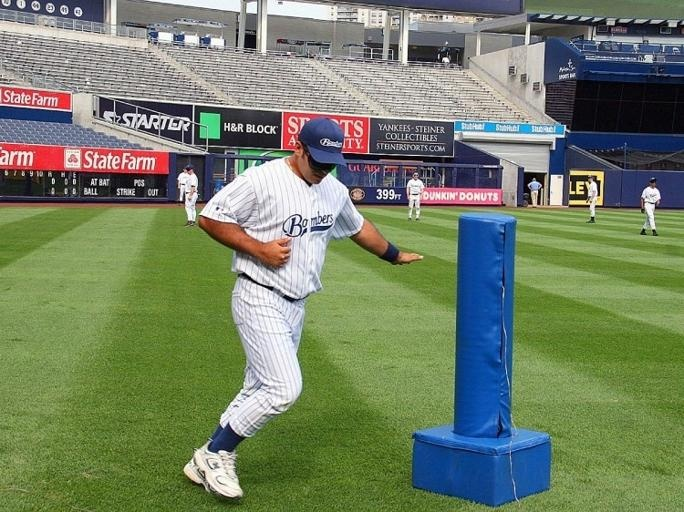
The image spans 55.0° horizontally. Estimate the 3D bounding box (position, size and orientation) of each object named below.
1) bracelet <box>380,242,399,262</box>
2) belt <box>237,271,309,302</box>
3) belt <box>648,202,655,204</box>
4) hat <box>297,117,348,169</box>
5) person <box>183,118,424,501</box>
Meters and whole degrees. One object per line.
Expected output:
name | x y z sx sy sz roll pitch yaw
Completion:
bracelet | 0.338 -0.017 4.514 0.130 0.106 0.119 31 17 2
belt | -0.443 0.197 4.028 0.245 0.063 0.216 25 5 3
belt | 9.843 -1.670 20.807 0.103 0.063 0.563 7 10 35
hat | -0.133 -0.686 3.929 0.209 0.171 0.311 -5 44 -31
person | -0.377 0.297 4.137 1.214 2.292 0.595 -1 8 -19
